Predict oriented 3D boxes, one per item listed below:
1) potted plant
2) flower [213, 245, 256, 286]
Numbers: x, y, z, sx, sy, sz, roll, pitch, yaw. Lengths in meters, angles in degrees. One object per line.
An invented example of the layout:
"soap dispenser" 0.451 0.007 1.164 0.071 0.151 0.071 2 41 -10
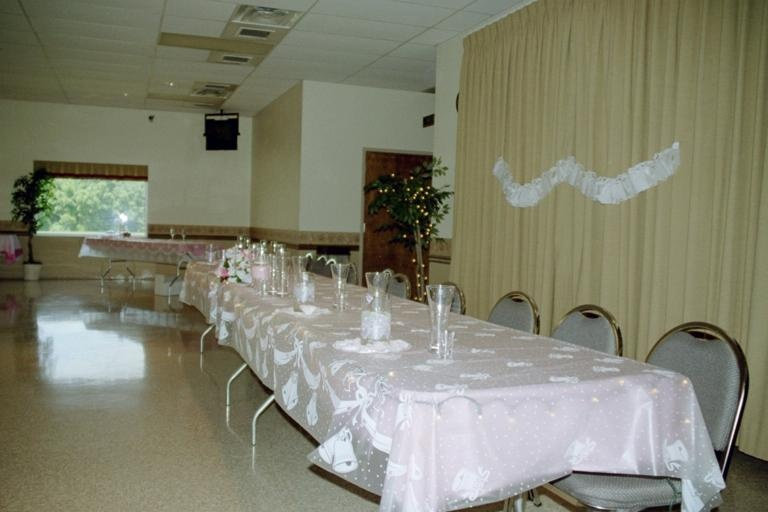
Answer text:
"potted plant" -6.617 -0.617 11.132 0.722 2.106 0.839 -3 10 -33
"flower" -1.282 0.087 5.153 0.338 0.232 0.354 0 5 1
